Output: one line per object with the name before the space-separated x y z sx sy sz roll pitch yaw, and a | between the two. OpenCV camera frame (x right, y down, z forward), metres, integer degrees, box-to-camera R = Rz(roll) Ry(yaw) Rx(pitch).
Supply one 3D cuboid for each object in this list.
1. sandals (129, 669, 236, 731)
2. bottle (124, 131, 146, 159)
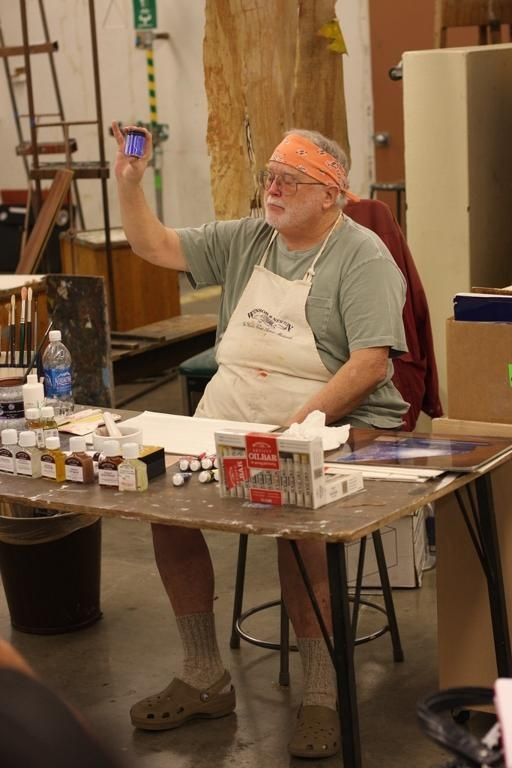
sandals | -0.240 1.022 2.412 0.316 0.123 0.140 -3 6 -18
bottle | -0.429 -0.837 2.616 0.088 0.091 0.084 4 9 -6
